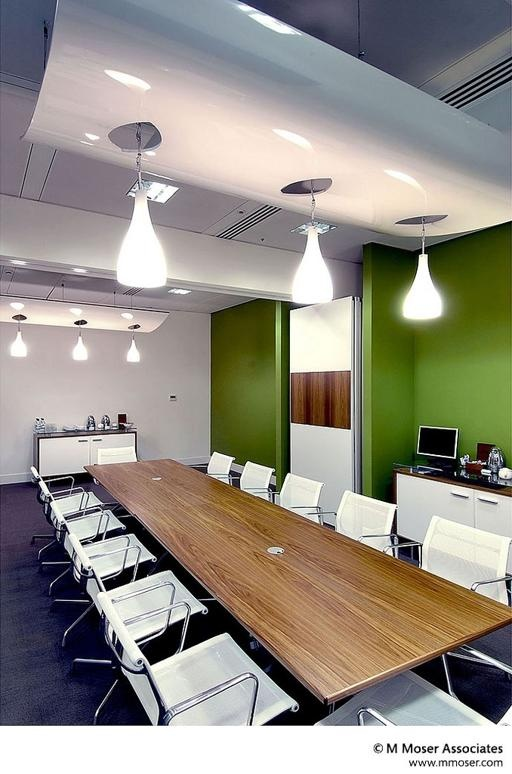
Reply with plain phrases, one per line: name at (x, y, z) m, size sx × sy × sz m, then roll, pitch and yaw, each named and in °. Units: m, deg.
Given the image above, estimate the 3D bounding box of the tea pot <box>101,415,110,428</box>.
tea pot at (-2.238, 0.518, 7.792) m, size 0.134 × 0.190 × 0.187 m, roll 2°, pitch 0°, yaw -30°

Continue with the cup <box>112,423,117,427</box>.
cup at (-2.146, 0.574, 7.879) m, size 0.059 × 0.061 × 0.106 m, roll 0°, pitch 11°, yaw -1°

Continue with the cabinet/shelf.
cabinet/shelf at (-2.371, 0.931, 7.353) m, size 1.335 × 0.636 × 0.416 m, roll -2°, pitch 8°, yaw -29°
